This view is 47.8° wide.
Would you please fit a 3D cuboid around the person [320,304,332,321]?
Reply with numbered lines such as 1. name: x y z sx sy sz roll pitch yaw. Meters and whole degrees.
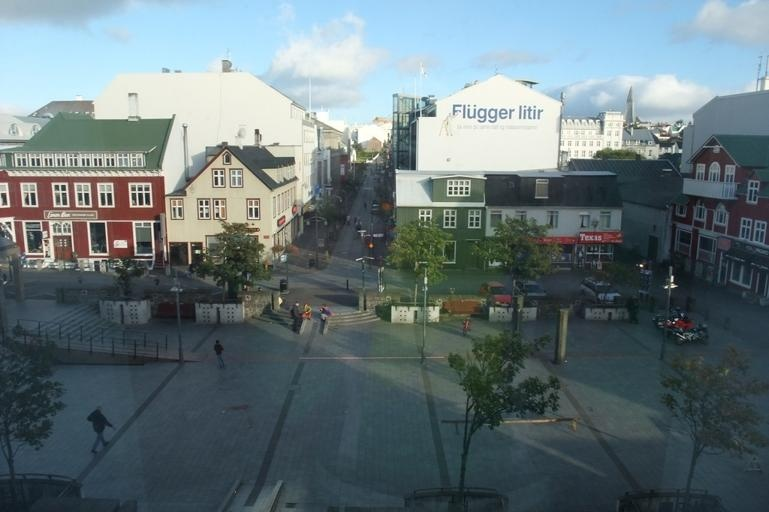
1. person: -5.654 5.447 83.782 1.075 1.775 0.733 8 19 36

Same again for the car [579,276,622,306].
1. car: 21.427 3.418 87.292 1.807 1.521 4.290 -3 6 -3

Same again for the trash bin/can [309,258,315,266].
1. trash bin/can: -8.270 0.752 99.272 0.584 0.898 1.068 1 6 2

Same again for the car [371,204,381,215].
1. car: -1.295 -7.682 140.765 1.213 1.144 2.099 -1 4 -4
